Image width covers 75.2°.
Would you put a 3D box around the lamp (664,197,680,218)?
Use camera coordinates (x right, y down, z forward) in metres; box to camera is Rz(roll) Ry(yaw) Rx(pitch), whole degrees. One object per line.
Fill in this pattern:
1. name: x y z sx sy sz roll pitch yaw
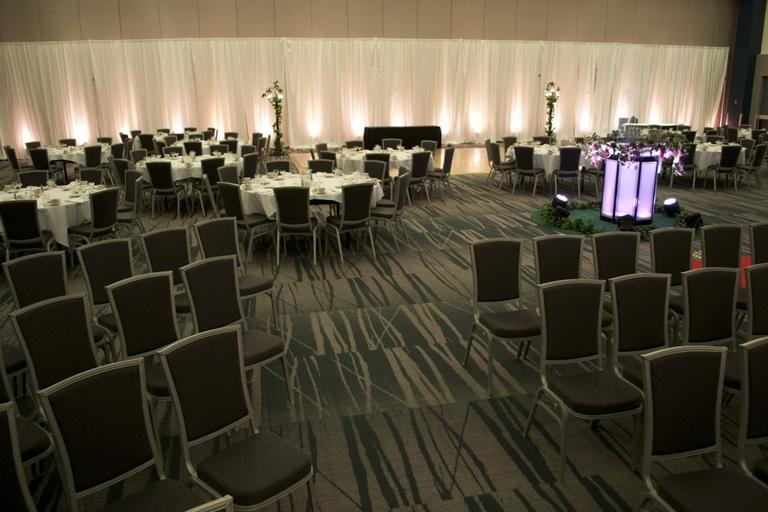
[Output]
1. lamp: 5.172 -0.863 8.970 0.271 0.289 0.282 9 20 30
